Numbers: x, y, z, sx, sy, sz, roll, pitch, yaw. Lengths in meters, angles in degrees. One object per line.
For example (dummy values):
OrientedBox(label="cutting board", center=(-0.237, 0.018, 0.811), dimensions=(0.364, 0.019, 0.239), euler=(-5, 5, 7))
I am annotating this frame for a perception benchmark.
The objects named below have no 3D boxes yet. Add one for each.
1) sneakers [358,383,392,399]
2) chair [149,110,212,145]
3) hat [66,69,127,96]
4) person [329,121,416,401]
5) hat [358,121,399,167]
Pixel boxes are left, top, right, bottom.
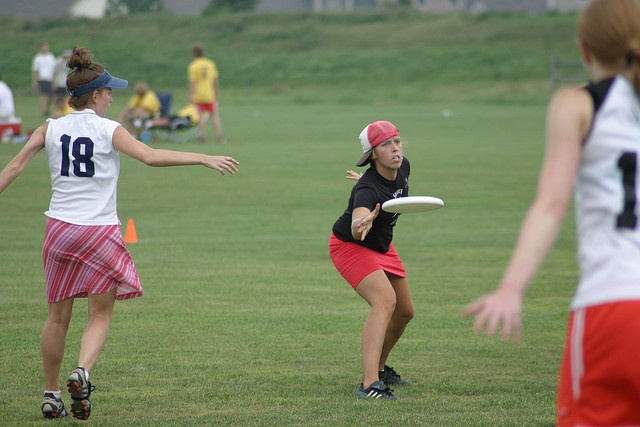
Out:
OrientedBox(label="sneakers", center=(0.690, 2.172, 16.174), dimensions=(0.500, 0.188, 0.167), euler=(4, -1, 3))
OrientedBox(label="chair", center=(-3.204, -1.882, 28.837), dimensions=(1.125, 0.995, 0.819), euler=(1, 1, 4))
OrientedBox(label="hat", center=(-2.688, -1.519, 15.906), dimensions=(0.550, 0.149, 0.339), euler=(-13, 7, -10))
OrientedBox(label="person", center=(0.679, 0.560, 16.206), dimensions=(0.960, 3.234, 1.166), euler=(0, 15, 4))
OrientedBox(label="hat", center=(0.661, -0.865, 16.293), dimensions=(0.619, 0.336, 0.451), euler=(-28, 2, 22))
